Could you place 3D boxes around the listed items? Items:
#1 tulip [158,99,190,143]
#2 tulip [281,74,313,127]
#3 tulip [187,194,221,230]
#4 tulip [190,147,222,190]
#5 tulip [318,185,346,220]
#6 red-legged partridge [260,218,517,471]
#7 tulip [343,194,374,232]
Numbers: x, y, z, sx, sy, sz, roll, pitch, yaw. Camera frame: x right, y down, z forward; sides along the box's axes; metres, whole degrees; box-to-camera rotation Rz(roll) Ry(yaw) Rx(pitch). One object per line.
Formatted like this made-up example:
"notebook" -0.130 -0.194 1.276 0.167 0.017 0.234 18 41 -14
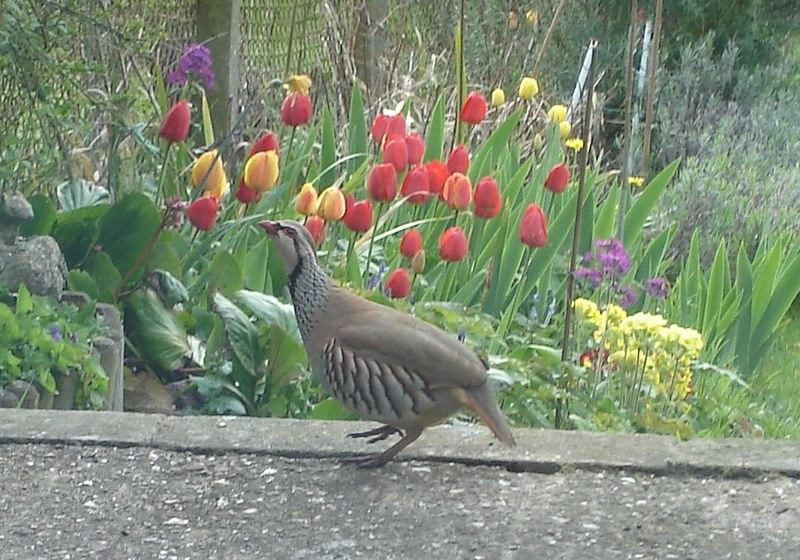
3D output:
"tulip" -1.044 -0.741 5.976 0.130 0.222 0.171 3 15 -3
"tulip" -0.503 -0.869 6.275 0.139 0.251 0.152 -1 6 13
"tulip" -0.902 -0.292 5.909 0.135 0.150 0.195 4 -27 -17
"tulip" -0.895 -0.538 6.028 0.185 0.203 0.194 2 0 -10
"tulip" -0.308 -0.357 5.971 0.118 0.174 0.129 7 21 9
"red-legged partridge" -0.059 0.300 5.202 1.069 1.149 0.757 1 15 -8
"tulip" -0.192 -0.319 6.008 0.144 0.192 0.132 12 7 -4
